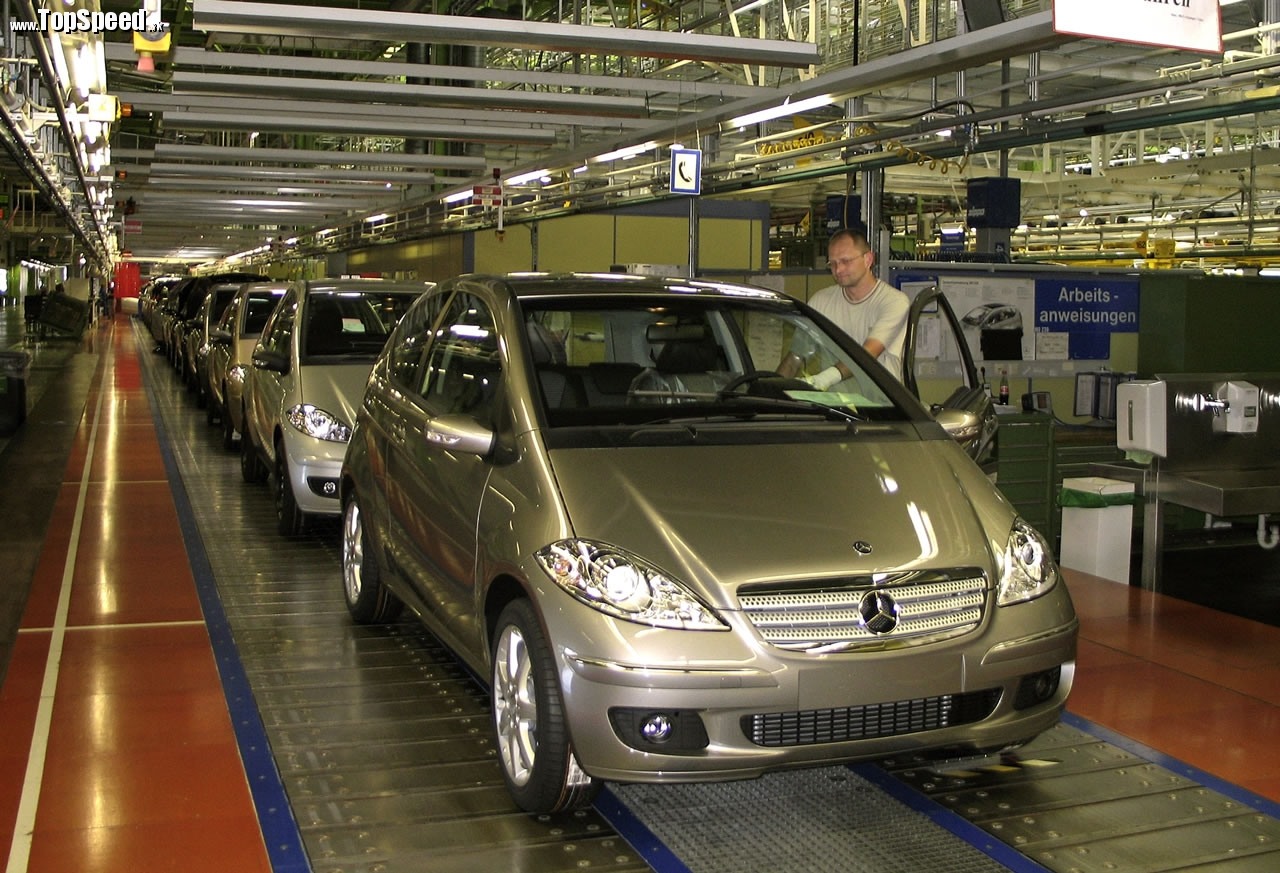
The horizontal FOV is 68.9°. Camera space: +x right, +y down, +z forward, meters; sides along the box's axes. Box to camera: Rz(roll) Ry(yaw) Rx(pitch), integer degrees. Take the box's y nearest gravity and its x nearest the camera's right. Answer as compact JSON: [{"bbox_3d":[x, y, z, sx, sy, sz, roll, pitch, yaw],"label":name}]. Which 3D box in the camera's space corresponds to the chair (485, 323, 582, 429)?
[{"bbox_3d":[-0.549,-0.231,4.245,0.465,0.387,0.292,8,2,42],"label":"chair"}]

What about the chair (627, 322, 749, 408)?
[{"bbox_3d":[0.218,-0.349,4.662,0.450,0.457,0.575,0,9,-17],"label":"chair"}]

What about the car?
[{"bbox_3d":[0.155,0.343,4.267,1.996,2.199,2.777,-6,11,-31],"label":"car"}]

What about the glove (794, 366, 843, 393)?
[{"bbox_3d":[0.895,-0.279,4.573,0.119,0.048,0.167,28,-22,-14],"label":"glove"}]
